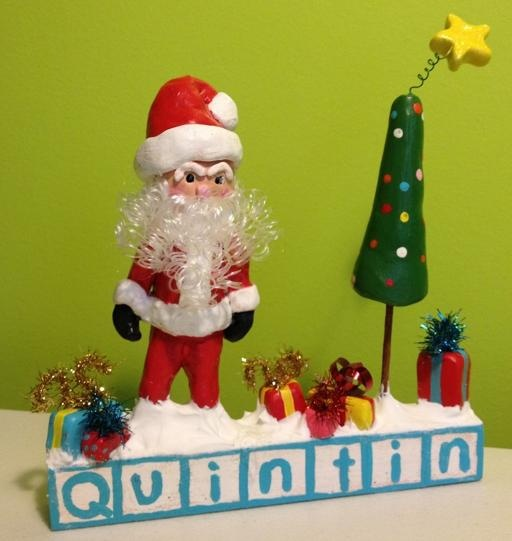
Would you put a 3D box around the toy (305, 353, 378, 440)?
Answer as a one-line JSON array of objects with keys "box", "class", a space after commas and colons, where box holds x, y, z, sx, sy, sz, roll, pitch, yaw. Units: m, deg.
[{"box": [0.205, 0.288, 2.183, 0.121, 0.130, 0.179, 18, 25, 9], "class": "toy"}]

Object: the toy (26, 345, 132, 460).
[{"box": [-0.411, 0.284, 2.093, 0.195, 0.128, 0.211, 22, 4, 39], "class": "toy"}]

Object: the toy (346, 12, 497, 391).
[{"box": [0.377, -0.171, 2.202, 0.213, 0.859, 0.438, 8, -20, -20], "class": "toy"}]

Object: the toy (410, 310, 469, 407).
[{"box": [0.460, 0.227, 2.275, 0.099, 0.223, 0.096, 1, 5, 36], "class": "toy"}]

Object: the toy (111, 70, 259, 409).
[{"box": [-0.153, -0.060, 2.152, 0.329, 0.717, 0.319, 4, -19, -9], "class": "toy"}]

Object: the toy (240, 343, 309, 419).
[{"box": [0.058, 0.289, 2.206, 0.143, 0.187, 0.101, -11, 8, -19], "class": "toy"}]
